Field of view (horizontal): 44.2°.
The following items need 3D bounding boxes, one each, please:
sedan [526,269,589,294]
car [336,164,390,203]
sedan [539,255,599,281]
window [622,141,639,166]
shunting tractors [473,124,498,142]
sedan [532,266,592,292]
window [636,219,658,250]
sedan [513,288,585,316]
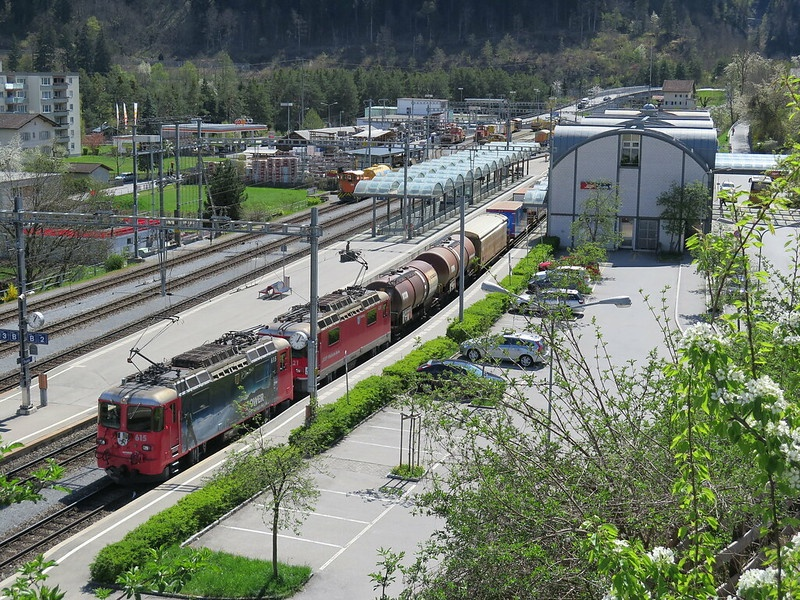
[{"bbox_3d":[7.521,-0.894,46.891,2.462,0.893,1.191,3,11,6],"label":"sedan"},{"bbox_3d":[-4.250,-12.159,101.683,2.351,3.631,12.188,2,17,12],"label":"car"},{"bbox_3d":[9.009,-1.738,52.439,2.910,1.102,1.383,5,14,2],"label":"sedan"},{"bbox_3d":[16.692,-10.678,71.163,1.559,2.318,0.097,3,11,25],"label":"window"},{"bbox_3d":[14.128,-27.720,164.293,2.206,2.612,7.081,0,12,11],"label":"shunting tractors"},{"bbox_3d":[7.787,-0.981,47.348,2.669,0.963,1.300,3,10,5],"label":"sedan"},{"bbox_3d":[18.285,-4.921,72.592,1.737,3.240,0.315,7,24,26],"label":"window"},{"bbox_3d":[5.707,0.063,37.247,2.758,1.026,1.316,2,9,8],"label":"sedan"}]
